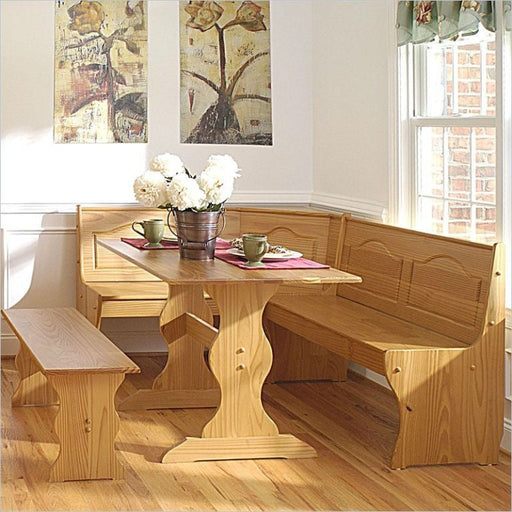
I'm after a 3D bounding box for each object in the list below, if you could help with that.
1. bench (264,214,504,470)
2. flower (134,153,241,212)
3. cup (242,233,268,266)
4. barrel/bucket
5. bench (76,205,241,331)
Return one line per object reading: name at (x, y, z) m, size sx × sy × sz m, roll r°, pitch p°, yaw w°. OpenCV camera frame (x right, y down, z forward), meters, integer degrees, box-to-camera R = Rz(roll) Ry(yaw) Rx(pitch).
bench at (0.663, 0.438, 2.423) m, size 0.510 × 0.815 × 1.265 m, roll 1°, pitch 1°, yaw -11°
flower at (-0.320, -0.357, 2.257) m, size 0.317 × 0.279 × 0.523 m, roll 3°, pitch -1°, yaw -41°
cup at (0.001, -0.032, 2.086) m, size 0.124 × 0.118 × 0.145 m, roll 2°, pitch 2°, yaw -31°
barrel/bucket at (-0.280, -0.111, 2.288) m, size 0.321 × 0.248 × 0.257 m, roll 0°, pitch 6°, yaw -7°
bench at (-0.811, 0.064, 3.624) m, size 1.352 × 0.903 × 0.869 m, roll 0°, pitch 4°, yaw -19°
